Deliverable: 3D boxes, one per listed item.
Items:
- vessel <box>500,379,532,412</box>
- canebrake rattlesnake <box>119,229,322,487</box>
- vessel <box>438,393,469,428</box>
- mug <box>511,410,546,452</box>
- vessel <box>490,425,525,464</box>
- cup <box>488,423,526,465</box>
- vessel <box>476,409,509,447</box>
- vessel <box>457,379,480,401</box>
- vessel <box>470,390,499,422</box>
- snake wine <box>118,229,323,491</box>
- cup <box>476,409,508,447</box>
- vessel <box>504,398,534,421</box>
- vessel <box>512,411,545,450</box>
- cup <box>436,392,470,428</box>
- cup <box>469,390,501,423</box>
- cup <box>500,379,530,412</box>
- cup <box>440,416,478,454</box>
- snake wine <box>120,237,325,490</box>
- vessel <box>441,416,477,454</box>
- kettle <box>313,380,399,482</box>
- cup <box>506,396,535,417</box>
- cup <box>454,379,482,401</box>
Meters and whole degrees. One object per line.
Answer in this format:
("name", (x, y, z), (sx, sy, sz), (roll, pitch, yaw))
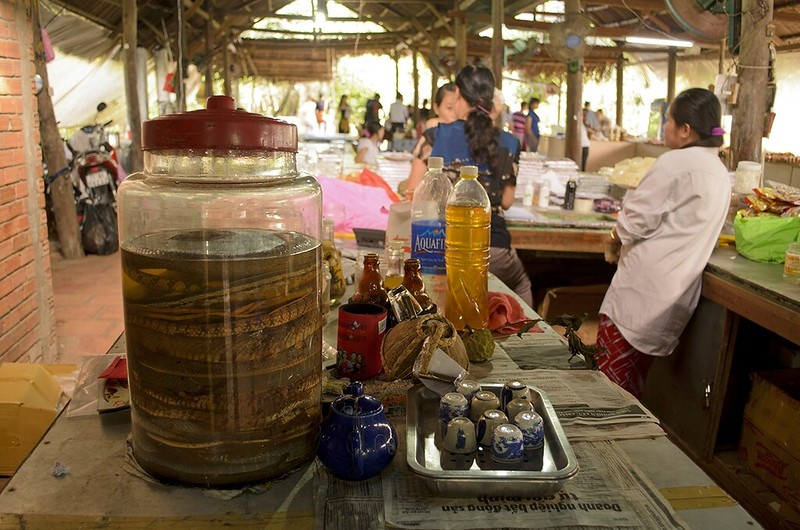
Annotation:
("vessel", (0.367, 0.413, 1.865), (0.089, 0.080, 0.087), (0, -5, 0))
("canebrake rattlesnake", (-0.534, 0.183, 1.681), (0.446, 0.782, 0.432), (-2, 7, -30))
("vessel", (0.159, 0.437, 1.772), (0.089, 0.082, 0.088), (1, -1, -3))
("mug", (0.378, 0.479, 1.712), (0.097, 0.090, 0.095), (-1, 1, -4))
("vessel", (0.298, 0.503, 1.681), (0.097, 0.090, 0.096), (-1, 3, -6))
("cup", (0.297, 0.506, 1.679), (0.100, 0.092, 0.098), (0, 3, 0))
("vessel", (0.266, 0.473, 1.724), (0.095, 0.088, 0.094), (1, -1, -1))
("vessel", (0.211, 0.386, 1.838), (0.057, 0.054, 0.056), (-2, 3, -33))
("vessel", (0.264, 0.441, 1.845), (0.085, 0.078, 0.083), (1, 1, -2))
("snake wine", (-0.518, 0.215, 1.749), (0.427, 0.794, 0.506), (2, 12, 2))
("cup", (0.268, 0.473, 1.722), (0.095, 0.086, 0.094), (1, -2, 0))
("vessel", (0.360, 0.436, 1.785), (0.063, 0.058, 0.062), (1, -3, 1))
("vessel", (0.368, 0.478, 1.716), (0.095, 0.088, 0.094), (-1, 1, -2))
("cup", (0.158, 0.435, 1.772), (0.089, 0.082, 0.087), (1, -1, 0))
("cup", (0.257, 0.432, 1.795), (0.085, 0.079, 0.084), (1, 1, 0))
("cup", (0.362, 0.415, 1.867), (0.088, 0.079, 0.087), (0, -3, 0))
("cup", (0.180, 0.499, 1.741), (0.105, 0.081, 0.105), (1, 9, 0))
("snake wine", (-0.522, 0.191, 1.727), (0.437, 0.768, 0.423), (-2, 8, -30))
("vessel", (0.178, 0.500, 1.742), (0.106, 0.081, 0.103), (0, 5, -12))
("kettle", (-0.097, 0.449, 1.742), (0.266, 0.243, 0.402), (2, 12, 4))
("cup", (0.356, 0.432, 1.787), (0.058, 0.053, 0.057), (1, 0, 0))
("cup", (0.215, 0.390, 1.843), (0.059, 0.055, 0.058), (0, 2, 0))
